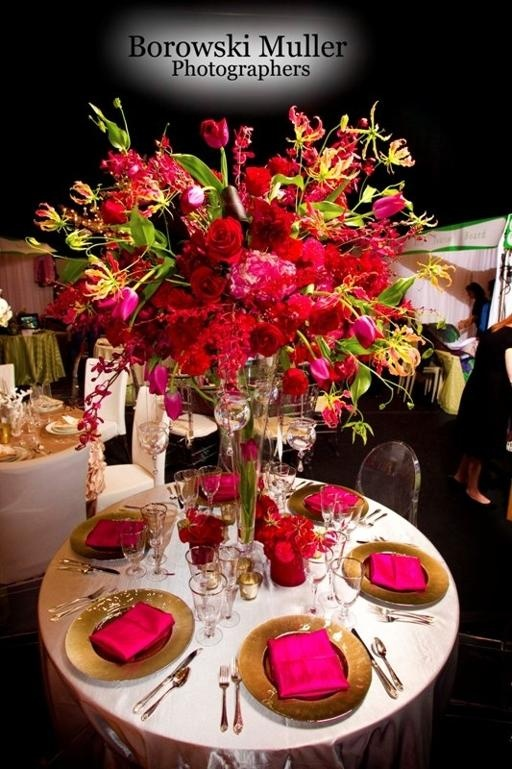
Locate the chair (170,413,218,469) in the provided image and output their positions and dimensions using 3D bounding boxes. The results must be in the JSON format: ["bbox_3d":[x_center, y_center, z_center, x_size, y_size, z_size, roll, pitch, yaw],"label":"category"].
[{"bbox_3d":[-0.472,0.435,3.952,0.470,0.227,0.355,27,34,36],"label":"chair"}]

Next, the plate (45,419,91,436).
[{"bbox_3d":[-0.890,0.202,2.442,0.159,0.041,0.170,8,12,-9],"label":"plate"}]

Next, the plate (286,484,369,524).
[{"bbox_3d":[0.231,0.385,1.863,0.184,0.026,0.185,-9,19,-24],"label":"plate"}]

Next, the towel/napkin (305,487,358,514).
[{"bbox_3d":[0.244,0.362,1.614,0.139,0.040,0.137,-4,5,-43],"label":"towel/napkin"}]

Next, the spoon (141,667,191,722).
[{"bbox_3d":[-0.177,0.618,1.047,0.026,0.022,0.154,10,4,13],"label":"spoon"}]

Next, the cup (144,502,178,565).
[{"bbox_3d":[-0.280,0.446,1.533,0.090,0.192,0.088,2,28,-1],"label":"cup"}]

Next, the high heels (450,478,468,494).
[{"bbox_3d":[1.544,0.765,3.985,0.093,0.091,0.091,-6,15,-17],"label":"high heels"}]

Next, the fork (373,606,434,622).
[{"bbox_3d":[0.366,0.581,1.310,0.151,0.013,0.047,0,16,6],"label":"fork"}]

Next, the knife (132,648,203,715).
[{"bbox_3d":[-0.179,0.612,1.130,0.033,0.021,0.270,16,10,19],"label":"knife"}]

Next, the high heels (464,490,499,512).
[{"bbox_3d":[1.616,0.831,3.772,0.068,0.077,0.197,-35,28,-16],"label":"high heels"}]

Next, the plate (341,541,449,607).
[{"bbox_3d":[0.389,0.508,1.396,0.219,0.029,0.221,0,22,3],"label":"plate"}]

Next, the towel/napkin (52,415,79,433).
[{"bbox_3d":[-1.051,0.220,2.876,0.136,0.053,0.137,8,14,13],"label":"towel/napkin"}]

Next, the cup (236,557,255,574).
[{"bbox_3d":[-0.030,0.503,1.442,0.051,0.037,0.043,3,-3,-5],"label":"cup"}]

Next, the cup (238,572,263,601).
[{"bbox_3d":[-0.016,0.522,1.354,0.057,0.048,0.062,1,-1,0],"label":"cup"}]

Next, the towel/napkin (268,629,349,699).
[{"bbox_3d":[0.106,0.579,1.105,0.166,0.044,0.191,-2,12,-8],"label":"towel/napkin"}]
